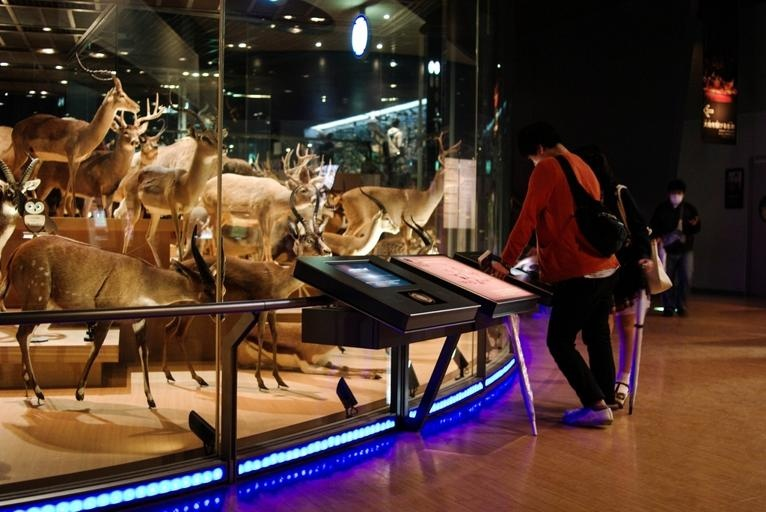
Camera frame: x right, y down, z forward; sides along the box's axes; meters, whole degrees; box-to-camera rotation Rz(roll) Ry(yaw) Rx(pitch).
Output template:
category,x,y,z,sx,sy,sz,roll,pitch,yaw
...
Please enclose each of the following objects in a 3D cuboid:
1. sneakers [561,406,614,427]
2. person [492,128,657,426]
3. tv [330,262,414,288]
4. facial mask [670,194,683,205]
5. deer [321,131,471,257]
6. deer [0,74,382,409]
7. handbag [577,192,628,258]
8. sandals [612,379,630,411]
category,x,y,z,sx,sy,sz,roll,pitch,yaw
sneakers,1.378,1.062,4.158,0.264,0.118,0.148,1,-4,27
person,1.224,0.226,4.165,0.833,1.847,0.476,1,5,7
tv,-0.075,0.106,3.374,0.239,0.024,0.240,10,17,-37
facial mask,4.172,-0.812,8.734,0.156,0.164,0.128,9,4,4
deer,0.037,-0.413,4.143,0.998,1.124,0.489,-1,9,-18
deer,-1.207,-0.251,4.471,2.389,2.108,1.142,7,-2,-6
handbag,1.414,-0.186,4.076,0.157,0.412,0.295,-38,5,13
sandals,1.768,1.039,4.523,0.093,0.085,0.271,-1,7,18
